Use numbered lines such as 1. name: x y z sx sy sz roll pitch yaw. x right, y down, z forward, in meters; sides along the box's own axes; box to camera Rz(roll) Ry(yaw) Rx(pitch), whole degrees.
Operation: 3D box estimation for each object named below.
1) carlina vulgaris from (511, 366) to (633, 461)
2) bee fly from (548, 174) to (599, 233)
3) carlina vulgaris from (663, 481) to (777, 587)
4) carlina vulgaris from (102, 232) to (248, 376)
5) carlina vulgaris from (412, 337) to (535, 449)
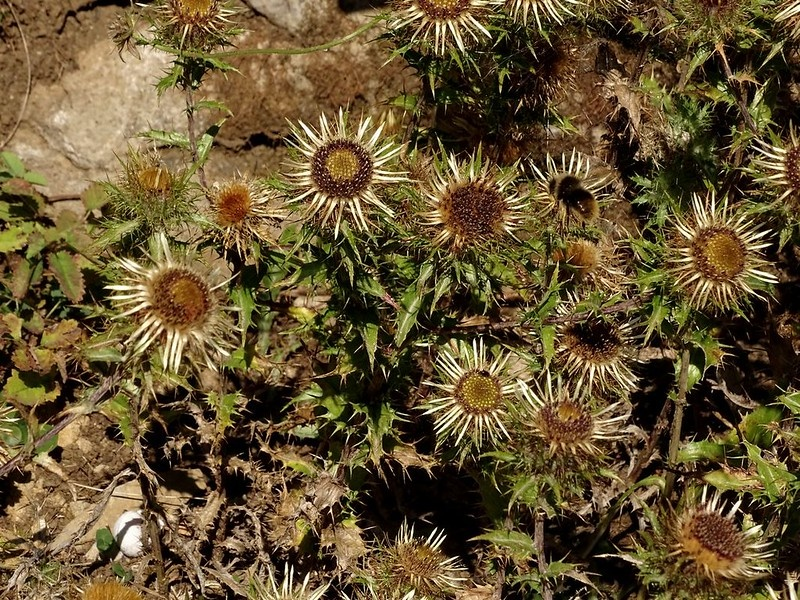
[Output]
1. carlina vulgaris: 1.126 0.850 6.620 0.618 0.698 0.311 -7 113 -19
2. bee fly: 1.197 -0.683 6.856 0.238 0.281 0.440 -2 99 -3
3. carlina vulgaris: 2.071 1.564 6.538 0.594 0.203 0.550 16 82 3
4. carlina vulgaris: -1.491 0.087 6.466 0.882 0.488 0.722 35 84 6
5. carlina vulgaris: 0.474 0.627 6.678 0.632 0.285 0.767 2 81 -1
